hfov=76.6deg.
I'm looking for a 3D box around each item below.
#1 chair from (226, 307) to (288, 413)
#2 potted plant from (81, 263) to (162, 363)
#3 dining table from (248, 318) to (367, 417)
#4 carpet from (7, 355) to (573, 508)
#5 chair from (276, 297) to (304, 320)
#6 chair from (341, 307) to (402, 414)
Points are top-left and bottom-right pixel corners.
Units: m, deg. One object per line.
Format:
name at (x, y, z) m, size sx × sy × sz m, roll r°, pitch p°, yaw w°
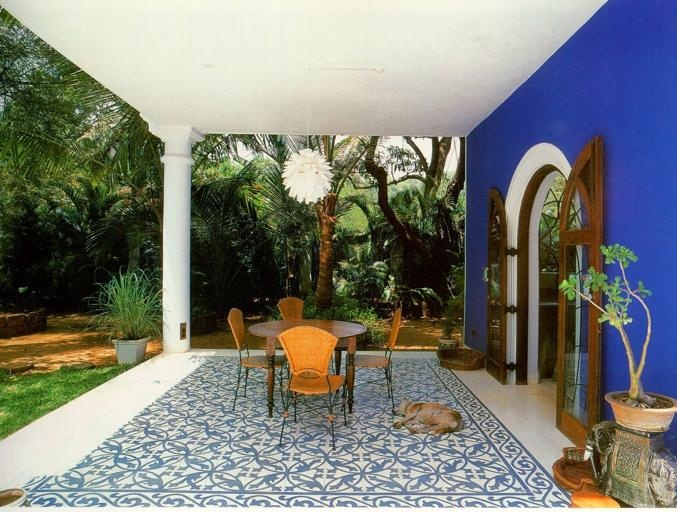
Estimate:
chair at (-0.923, 1.164, 5.054) m, size 0.681 × 1.039 × 0.592 m, roll -1°, pitch -1°, yaw 6°
potted plant at (-3.533, 0.915, 7.060) m, size 1.492 × 1.352 × 1.382 m, roll 1°, pitch -1°, yaw -1°
dining table at (-0.252, 1.084, 4.981) m, size 1.127 × 0.716 × 1.118 m, roll 0°, pitch 6°, yaw 7°
carpet at (-0.477, 1.747, 4.207) m, size 4.458 × 0.080 × 2.613 m, roll 0°, pitch 2°, yaw -5°
chair at (-0.707, 0.733, 6.344) m, size 0.358 × 0.499 × 0.350 m, roll 0°, pitch 1°, yaw -18°
chair at (0.382, 1.176, 5.189) m, size 0.714 × 1.111 × 0.620 m, roll 1°, pitch -4°, yaw 6°
